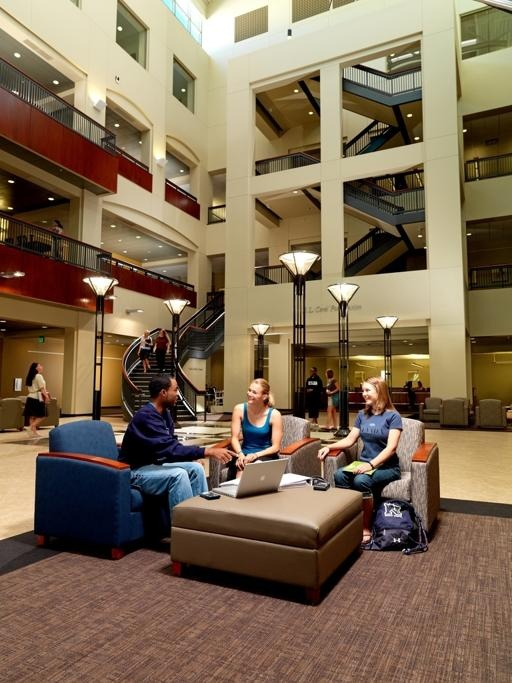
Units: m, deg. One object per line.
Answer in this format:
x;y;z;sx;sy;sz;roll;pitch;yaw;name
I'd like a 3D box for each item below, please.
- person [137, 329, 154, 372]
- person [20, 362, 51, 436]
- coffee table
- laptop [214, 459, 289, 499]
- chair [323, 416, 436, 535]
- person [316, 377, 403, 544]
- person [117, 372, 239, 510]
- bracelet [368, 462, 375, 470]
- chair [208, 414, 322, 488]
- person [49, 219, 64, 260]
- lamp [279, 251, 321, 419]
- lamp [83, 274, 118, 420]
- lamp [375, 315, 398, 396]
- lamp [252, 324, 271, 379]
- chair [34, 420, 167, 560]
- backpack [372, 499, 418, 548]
-3.415;0.316;15.231;0.455;1.289;0.925;-1;-3;-13;person
-4.627;1.186;10.383;0.474;1.527;1.472;0;-4;-26;person
0.063;1.087;2.811;0.891;0.434;0.784;-4;-4;27;coffee table
-0.036;0.718;2.892;0.271;0.208;0.319;-1;-5;43;laptop
1.033;1.037;3.883;0.774;0.817;0.860;-4;-2;-39;chair
0.843;0.868;3.750;0.565;1.188;0.499;7;-12;-33;person
-0.551;0.838;3.473;0.768;1.167;0.487;3;0;8;person
0.821;0.889;3.513;0.010;0.038;0.038;-22;1;-6;bracelet
0.204;1.044;4.308;0.666;0.745;0.714;-4;-3;8;chair
-5.628;-2.925;13.959;0.292;1.357;1.050;0;-3;-21;person
0.664;-0.006;7.567;0.623;2.584;0.622;-1;-3;33;lamp
-2.728;0.186;8.551;0.763;2.735;0.727;2;2;-19;lamp
3.497;0.508;13.019;0.466;2.099;0.470;-1;-5;10;lamp
0.127;0.334;13.342;0.440;1.523;0.404;3;1;-36;lamp
-1.024;0.959;3.434;0.656;0.814;0.884;0;-5;18;chair
0.914;1.224;3.269;0.202;0.309;0.283;0;-11;8;backpack
